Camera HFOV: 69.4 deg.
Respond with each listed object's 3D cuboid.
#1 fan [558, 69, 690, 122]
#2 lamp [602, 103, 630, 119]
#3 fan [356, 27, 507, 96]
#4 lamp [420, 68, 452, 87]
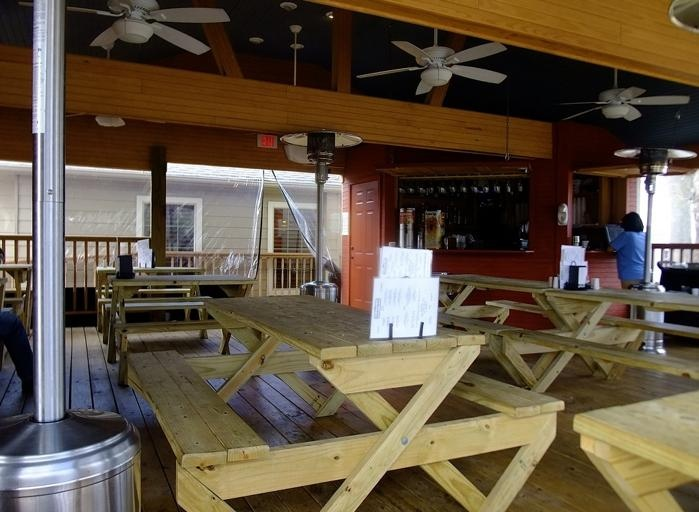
[{"bbox_3d":[2.909,-1.880,5.756,1.360,0.446,1.239,-3,6,-2],"label":"fan"},{"bbox_3d":[2.965,-1.650,5.729,0.226,0.067,0.184,0,0,1],"label":"lamp"},{"bbox_3d":[1.135,-1.914,5.193,1.463,0.531,1.295,2,5,25],"label":"fan"},{"bbox_3d":[0.845,-1.794,5.011,0.283,0.145,0.211,-2,3,4],"label":"lamp"}]
